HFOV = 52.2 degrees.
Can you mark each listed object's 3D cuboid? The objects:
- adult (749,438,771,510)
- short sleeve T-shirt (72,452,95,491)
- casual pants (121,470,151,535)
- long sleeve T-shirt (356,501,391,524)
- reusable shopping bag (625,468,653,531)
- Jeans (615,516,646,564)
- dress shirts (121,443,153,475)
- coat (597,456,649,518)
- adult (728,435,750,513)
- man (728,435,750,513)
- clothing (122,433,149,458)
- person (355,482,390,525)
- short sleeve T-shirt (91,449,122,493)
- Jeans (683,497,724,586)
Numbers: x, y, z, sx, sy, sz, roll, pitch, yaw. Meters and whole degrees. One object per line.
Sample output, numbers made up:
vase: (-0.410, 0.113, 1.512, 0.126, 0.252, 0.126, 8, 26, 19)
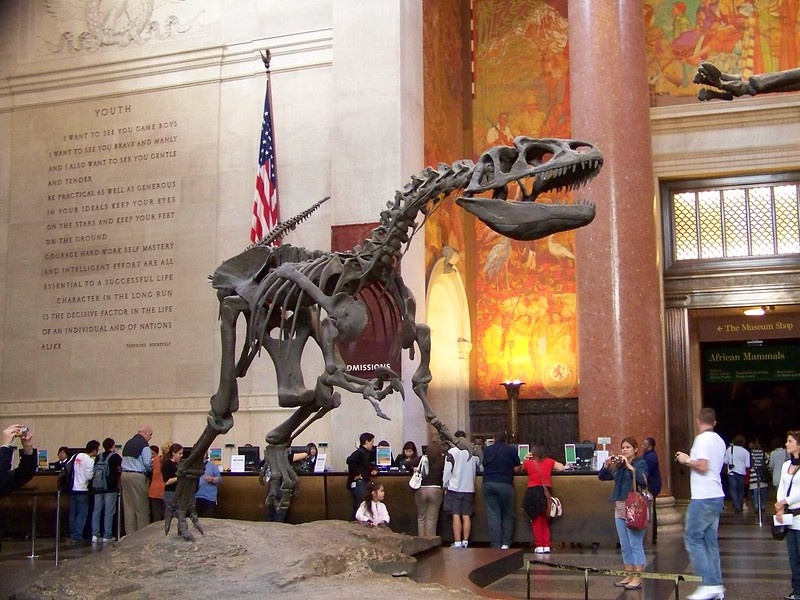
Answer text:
adult: (6.624, 3.275, 14.914, 0.407, 1.194, 0.388, 14, -17, -28)
short sleeve T-shirt: (-4.598, 2.487, 11.799, 0.296, 0.526, 0.386, 0, -7, -18)
casual pants: (-3.781, 2.868, 11.566, 0.453, 0.884, 0.233, -4, -7, 15)
long sleeve T-shirt: (-0.326, 2.541, 9.701, 0.455, 0.367, 0.257, 2, -15, -17)
reusable shopping bag: (2.492, 2.143, 8.622, 0.247, 0.621, 0.354, -4, -6, 14)
Jeans: (2.469, 2.590, 8.769, 0.246, 0.688, 0.183, -13, -13, 33)
dress shirts: (-3.718, 2.257, 11.516, 0.468, 0.418, 0.269, 4, 6, 6)
coat: (2.401, 2.004, 8.806, 0.518, 0.705, 0.415, -6, -34, 47)
adult: (6.167, 3.133, 14.801, 0.511, 1.320, 0.404, -1, 2, -15)
man: (6.163, 3.136, 14.775, 0.487, 1.320, 0.405, 2, -2, -9)
clothing: (-3.743, 2.064, 11.524, 0.325, 0.348, 0.215, -1, -6, -11)
person: (-0.316, 2.440, 9.642, 0.443, 0.568, 0.349, 9, -17, -34)
short sleeve T-shirt: (-4.329, 2.541, 12.024, 0.421, 0.603, 0.396, 11, -20, -28)
Jeans: (2.916, 2.315, 7.787, 0.365, 0.836, 0.283, -4, -7, 18)
